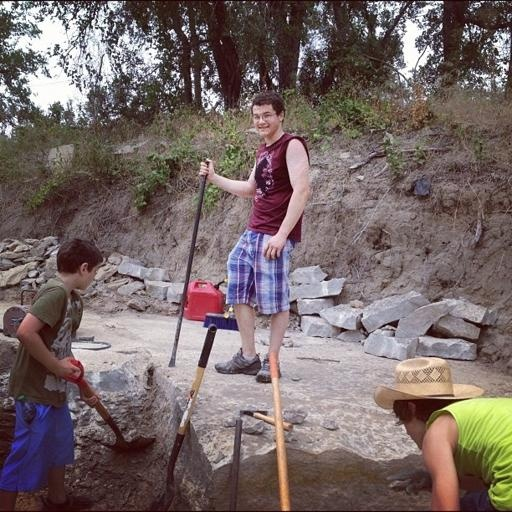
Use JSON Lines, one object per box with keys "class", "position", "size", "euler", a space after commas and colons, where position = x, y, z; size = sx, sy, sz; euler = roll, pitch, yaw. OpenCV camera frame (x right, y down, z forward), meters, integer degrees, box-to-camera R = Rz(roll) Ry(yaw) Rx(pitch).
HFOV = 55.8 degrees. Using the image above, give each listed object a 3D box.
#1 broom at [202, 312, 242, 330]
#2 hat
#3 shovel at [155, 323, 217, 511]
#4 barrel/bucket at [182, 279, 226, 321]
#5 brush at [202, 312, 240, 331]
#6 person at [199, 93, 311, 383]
{"class": "broom", "position": [-0.310, 0.583, 4.461], "size": [0.239, 0.107, 0.374], "euler": [6, -5, 4]}
{"class": "hat", "position": [0.657, 0.478, 1.926], "size": [0.306, 0.131, 0.326], "euler": [11, -15, -38]}
{"class": "shovel", "position": [-0.376, 0.836, 2.488], "size": [0.303, 1.085, 0.650], "euler": [0, 3, -16]}
{"class": "barrel/bucket", "position": [-0.697, 0.780, 6.361], "size": [0.489, 0.632, 0.672], "euler": [5, -39, -10]}
{"class": "brush", "position": [-0.312, 0.580, 4.456], "size": [0.241, 0.109, 0.379], "euler": [6, -6, 4]}
{"class": "person", "position": [0.016, -0.162, 3.535], "size": [0.465, 2.082, 0.837], "euler": [-2, 3, -43]}
